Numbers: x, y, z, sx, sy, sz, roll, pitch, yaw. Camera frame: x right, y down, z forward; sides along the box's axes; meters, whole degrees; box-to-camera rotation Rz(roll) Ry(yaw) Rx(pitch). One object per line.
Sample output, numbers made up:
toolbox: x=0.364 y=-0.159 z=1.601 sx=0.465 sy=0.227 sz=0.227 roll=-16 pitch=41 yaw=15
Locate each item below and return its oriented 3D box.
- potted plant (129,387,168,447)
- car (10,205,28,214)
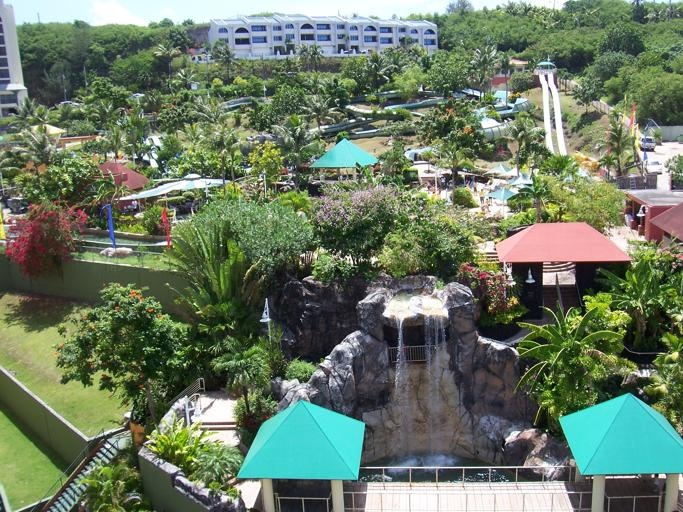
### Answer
potted plant: x=-10.161 y=7.745 z=32.113 sx=1.798 sy=3.343 sz=1.412 roll=9 pitch=22 yaw=18
car: x=-31.733 y=-4.524 z=60.914 sx=1.542 sy=0.665 sz=1.444 roll=-6 pitch=12 yaw=-16
